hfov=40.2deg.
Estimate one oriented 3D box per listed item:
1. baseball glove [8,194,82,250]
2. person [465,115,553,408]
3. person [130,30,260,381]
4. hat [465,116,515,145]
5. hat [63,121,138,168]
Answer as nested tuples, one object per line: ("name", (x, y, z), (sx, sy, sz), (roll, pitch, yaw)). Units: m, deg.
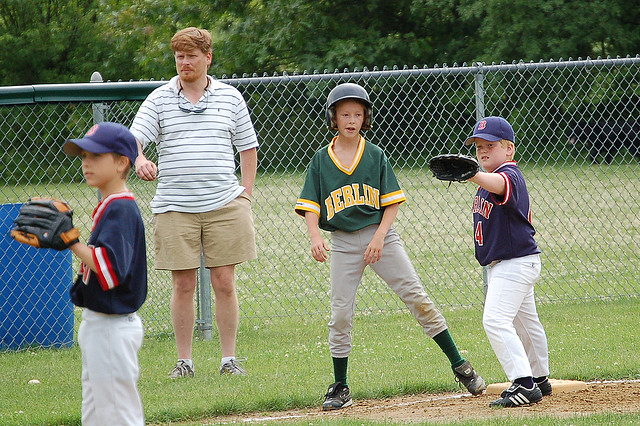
("baseball glove", (-2.171, 0.091, 6.933), (0.526, 0.409, 0.264), (-3, 11, -9))
("person", (1.769, 0.423, 8.142), (0.814, 2.549, 1.071), (1, 11, 10))
("person", (-1.196, -0.103, 8.597), (1.137, 3.322, 0.741), (-2, 11, -5))
("hat", (1.631, -0.795, 8.376), (0.533, 0.263, 0.364), (2, 0, -32))
("hat", (-1.779, -0.588, 7.214), (0.599, 0.337, 0.413), (15, -8, -38))
